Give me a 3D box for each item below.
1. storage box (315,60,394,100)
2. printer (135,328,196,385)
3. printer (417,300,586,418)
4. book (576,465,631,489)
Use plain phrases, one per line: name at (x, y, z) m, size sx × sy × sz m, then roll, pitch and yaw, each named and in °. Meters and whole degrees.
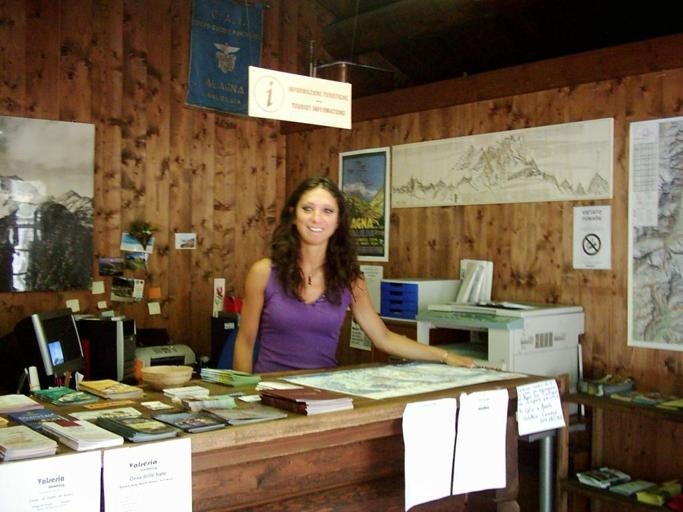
storage box at (0.273, -1.711, 5.154) m, size 0.606 × 0.197 × 0.613 m, roll 19°, pitch 23°, yaw 31°
printer at (-1.495, 0.782, 4.409) m, size 0.417 × 0.291 × 0.450 m, roll 3°, pitch 4°, yaw 38°
printer at (1.163, 0.630, 3.618) m, size 0.555 × 0.640 × 0.689 m, roll -3°, pitch 5°, yaw -13°
book at (1.598, 1.351, 3.287) m, size 0.182 × 0.043 × 0.172 m, roll -2°, pitch 0°, yaw -19°
